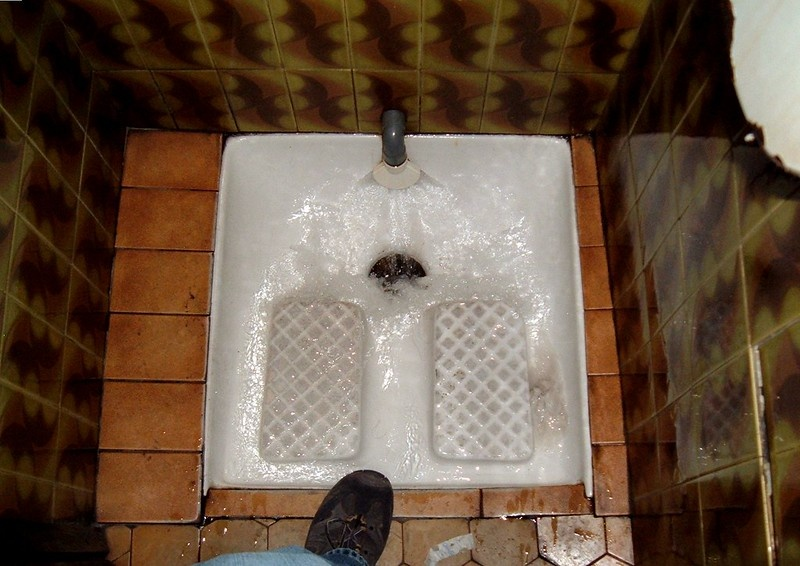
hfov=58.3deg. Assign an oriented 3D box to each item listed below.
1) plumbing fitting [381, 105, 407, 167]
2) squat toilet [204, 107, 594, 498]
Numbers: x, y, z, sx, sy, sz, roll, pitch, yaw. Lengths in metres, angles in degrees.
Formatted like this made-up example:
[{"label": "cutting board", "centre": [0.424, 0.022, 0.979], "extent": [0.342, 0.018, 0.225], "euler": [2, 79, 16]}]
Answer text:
[{"label": "plumbing fitting", "centre": [-0.015, -0.356, 1.742], "extent": [0.064, 0.115, 0.124], "euler": [-1, 95, 3]}, {"label": "squat toilet", "centre": [-0.003, 0.063, 1.767], "extent": [0.912, 0.239, 0.858], "euler": [1, 69, -1]}]
